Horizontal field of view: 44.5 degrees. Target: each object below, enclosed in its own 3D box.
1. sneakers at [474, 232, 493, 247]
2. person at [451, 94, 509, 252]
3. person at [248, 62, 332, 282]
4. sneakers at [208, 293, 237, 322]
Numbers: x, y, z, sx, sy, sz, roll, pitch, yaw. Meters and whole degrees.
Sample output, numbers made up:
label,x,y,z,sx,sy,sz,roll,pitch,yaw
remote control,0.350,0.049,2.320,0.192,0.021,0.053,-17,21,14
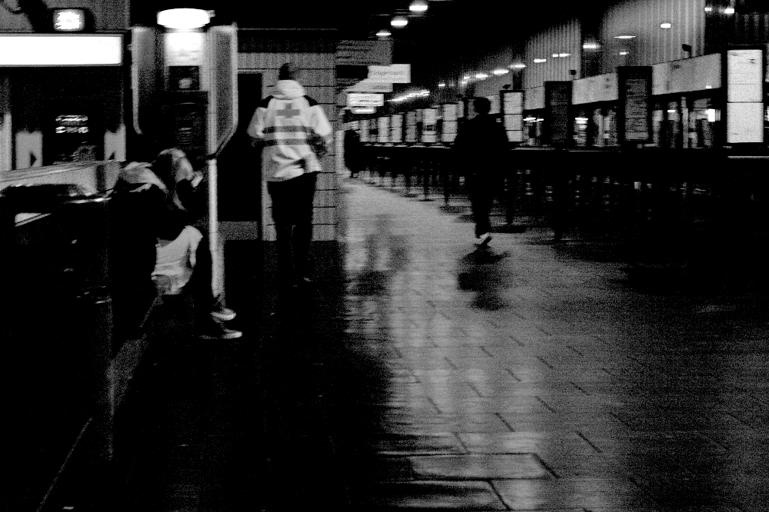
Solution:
label,x,y,z,sx,sy,sz,roll,pitch,yaw
sneakers,1.352,-0.200,12.939,0.196,0.068,0.255,-22,16,10
person,1.275,-1.210,13.094,0.769,1.982,0.805,3,7,21
person,-0.909,-0.719,9.036,0.762,1.925,0.534,-1,7,-6
sneakers,-1.199,0.388,6.851,0.205,0.105,0.201,7,4,9
